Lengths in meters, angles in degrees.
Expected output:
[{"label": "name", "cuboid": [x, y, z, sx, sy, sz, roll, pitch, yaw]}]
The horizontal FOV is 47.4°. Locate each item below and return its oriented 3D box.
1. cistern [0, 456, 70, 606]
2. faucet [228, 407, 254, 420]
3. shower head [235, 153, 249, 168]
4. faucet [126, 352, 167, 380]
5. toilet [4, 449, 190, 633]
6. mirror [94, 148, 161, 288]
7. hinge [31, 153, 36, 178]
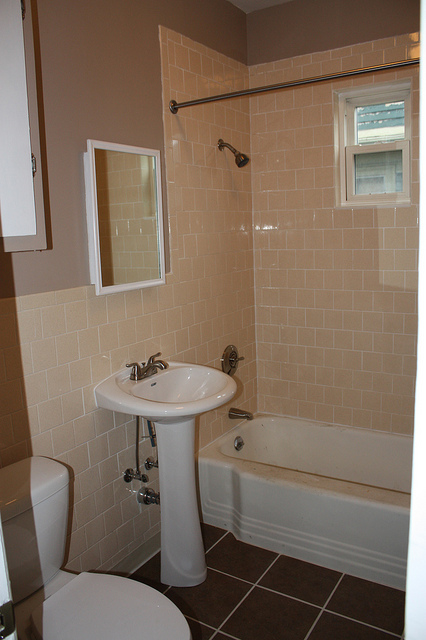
[{"label": "cistern", "cuboid": [-0.569, 0.636, 1.477, 0.233, 0.351, 0.249, 2, 6, 38]}, {"label": "faucet", "cuboid": [0.166, 0.588, 3.030, 0.105, 0.039, 0.090, 14, 4, -2]}, {"label": "shower head", "cuboid": [0.155, -0.872, 2.655, 0.058, 0.069, 0.147, -2, 5, 2]}, {"label": "faucet", "cuboid": [-0.260, 0.210, 2.040, 0.119, 0.049, 0.128, 3, 13, 23]}, {"label": "toilet", "cuboid": [-0.401, 0.648, 1.387, 0.637, 0.364, 0.282, 1, 5, 25]}, {"label": "mirror", "cuboid": [-0.345, -0.441, 2.046, 0.029, 0.563, 0.427, 6, 15, 33]}, {"label": "hinge", "cuboid": [-0.572, -0.493, 1.552, 0.009, 0.072, 0.077, -3, 5, -19]}]
